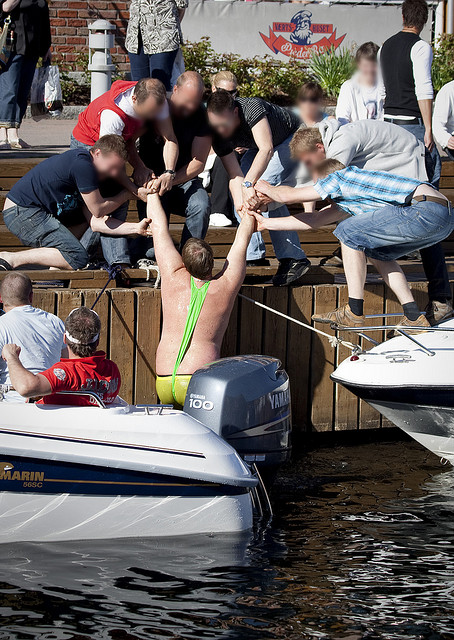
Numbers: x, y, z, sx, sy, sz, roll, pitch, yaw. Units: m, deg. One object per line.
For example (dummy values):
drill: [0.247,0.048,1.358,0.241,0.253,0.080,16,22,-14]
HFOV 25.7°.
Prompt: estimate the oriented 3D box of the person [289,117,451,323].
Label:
person: [1.020,-0.575,5.922,0.665,1.159,1.397,11,11,39]

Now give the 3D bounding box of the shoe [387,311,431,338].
shoe: [1.028,0.034,5.833,0.300,0.122,0.092,-9,25,22]

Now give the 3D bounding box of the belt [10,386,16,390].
belt: [-1.006,0.318,4.700,0.032,0.013,0.043,0,3,-35]

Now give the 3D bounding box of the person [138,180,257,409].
person: [-0.179,-0.071,5.464,0.579,1.090,0.511,4,9,-1]

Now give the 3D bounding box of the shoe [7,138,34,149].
shoe: [-1.658,-1.426,8.043,0.215,0.074,0.074,10,19,10]

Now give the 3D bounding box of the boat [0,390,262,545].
boat: [-0.464,0.658,4.421,1.146,0.377,0.637,7,-3,-8]

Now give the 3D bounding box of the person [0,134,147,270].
person: [-0.961,-0.666,5.806,1.104,0.846,0.550,2,40,-10]

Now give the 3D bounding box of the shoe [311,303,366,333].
shoe: [0.696,-0.013,6.027,0.359,0.137,0.129,13,10,38]

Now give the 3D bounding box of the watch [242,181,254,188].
watch: [0.129,-0.800,5.862,0.054,0.015,0.048,2,24,0]

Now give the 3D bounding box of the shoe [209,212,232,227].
shoe: [-0.056,-0.738,7.383,0.226,0.081,0.082,6,13,43]
